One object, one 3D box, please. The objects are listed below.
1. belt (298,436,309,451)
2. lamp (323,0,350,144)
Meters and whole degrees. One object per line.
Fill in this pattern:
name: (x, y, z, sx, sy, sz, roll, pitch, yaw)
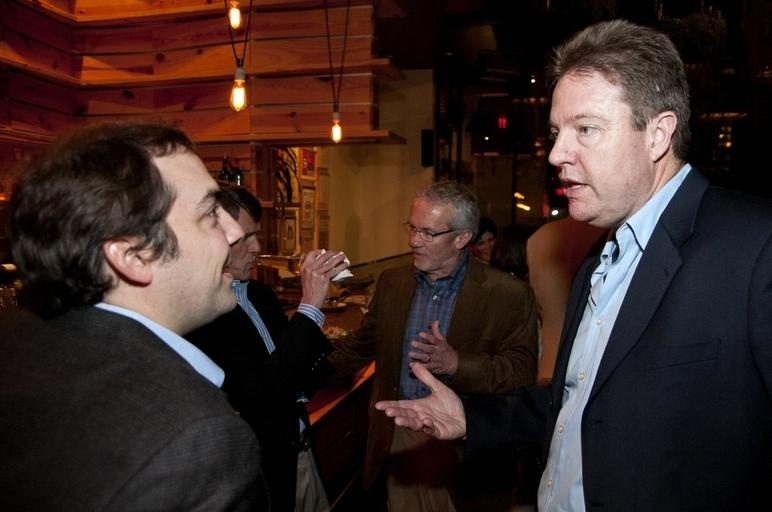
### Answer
belt: (-0.354, 0.815, 2.624, 0.045, 0.062, 0.019, -29, 13, -38)
lamp: (-0.379, -1.428, 4.677, 0.189, 1.045, 0.234, -3, 5, -28)
